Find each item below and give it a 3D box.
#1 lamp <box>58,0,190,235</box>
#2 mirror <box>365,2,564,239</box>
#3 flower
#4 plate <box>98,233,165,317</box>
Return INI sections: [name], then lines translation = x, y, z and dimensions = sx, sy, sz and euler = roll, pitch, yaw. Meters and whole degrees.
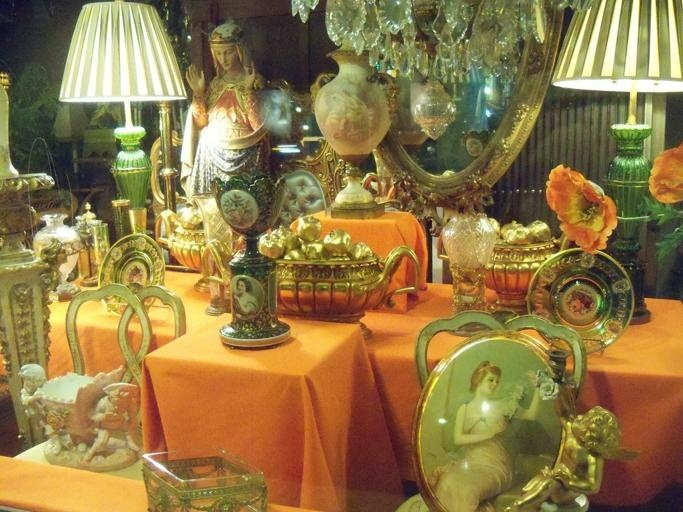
[lamp]
translation = -0.890, -0.633, 2.710
dimensions = 0.611, 1.234, 0.615
euler = -6, 11, -29
[mirror]
translation = 0.420, -0.476, 2.037
dimensions = 0.559, 0.835, 0.055
euler = 11, 13, 31
[flower]
translation = 0.695, -0.128, 1.580
dimensions = 0.229, 0.221, 0.380
euler = 29, 13, 18
[plate]
translation = -0.752, 0.046, 2.183
dimensions = 0.250, 0.308, 0.065
euler = -9, -1, 14
